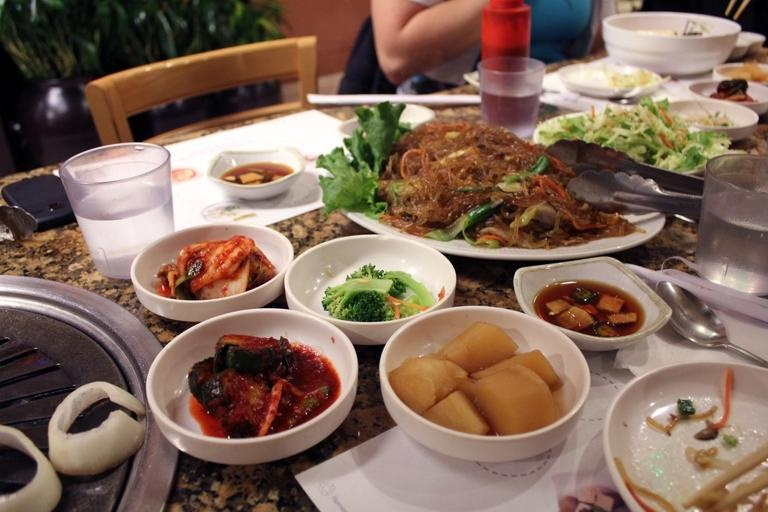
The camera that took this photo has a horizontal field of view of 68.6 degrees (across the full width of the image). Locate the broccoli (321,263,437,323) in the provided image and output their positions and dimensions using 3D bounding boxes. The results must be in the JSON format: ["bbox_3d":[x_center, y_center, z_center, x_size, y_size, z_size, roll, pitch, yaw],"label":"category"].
[{"bbox_3d":[-0.017,0.131,1.916,0.243,0.066,0.212,-3,31,18],"label":"broccoli"}]

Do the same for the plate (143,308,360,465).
[{"bbox_3d":[-0.375,0.357,1.634,0.587,0.122,0.464,0,44,-3],"label":"plate"}]

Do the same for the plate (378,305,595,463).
[{"bbox_3d":[0.273,0.343,1.607,0.564,0.125,0.462,17,45,15],"label":"plate"}]

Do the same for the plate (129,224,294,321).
[{"bbox_3d":[-0.597,0.050,1.984,0.550,0.130,0.435,-9,45,-12],"label":"plate"}]
